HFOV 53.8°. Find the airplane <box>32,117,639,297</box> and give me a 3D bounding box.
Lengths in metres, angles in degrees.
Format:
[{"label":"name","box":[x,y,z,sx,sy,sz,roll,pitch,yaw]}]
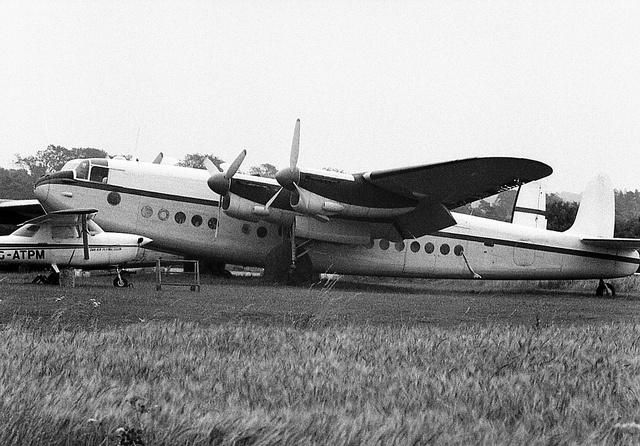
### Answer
[{"label":"airplane","box":[1.389,-0.379,19.391,18.143,4.528,11.998,3,3,-2]}]
